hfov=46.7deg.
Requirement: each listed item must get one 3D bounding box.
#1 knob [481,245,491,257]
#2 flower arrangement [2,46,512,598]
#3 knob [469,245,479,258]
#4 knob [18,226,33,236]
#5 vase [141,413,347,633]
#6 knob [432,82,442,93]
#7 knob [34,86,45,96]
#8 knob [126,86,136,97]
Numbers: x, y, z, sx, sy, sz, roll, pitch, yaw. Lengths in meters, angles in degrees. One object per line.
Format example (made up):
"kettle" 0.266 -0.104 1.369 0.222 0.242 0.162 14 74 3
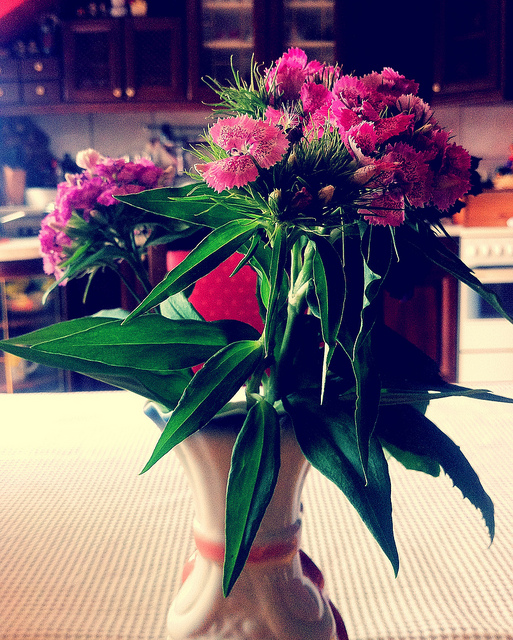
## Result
"knob" 1.056 -0.323 2.720 0.036 0.053 0.042 -1 4 -4
"flower arrangement" 0.004 -0.027 0.364 0.284 0.298 0.220 4 9 29
"knob" 1.000 -0.316 2.720 0.041 0.049 0.024 -5 0 -17
"knob" -1.056 -0.409 2.709 0.011 0.050 0.047 -11 -5 43
"vase" -0.004 0.111 0.412 0.119 0.148 0.127 0 -2 3
"knob" 0.887 -1.137 2.904 0.036 0.043 0.020 4 0 31
"knob" -1.087 -1.157 2.982 0.035 0.043 0.021 2 2 5
"knob" -0.621 -1.131 2.933 0.039 0.048 0.012 0 6 -1
